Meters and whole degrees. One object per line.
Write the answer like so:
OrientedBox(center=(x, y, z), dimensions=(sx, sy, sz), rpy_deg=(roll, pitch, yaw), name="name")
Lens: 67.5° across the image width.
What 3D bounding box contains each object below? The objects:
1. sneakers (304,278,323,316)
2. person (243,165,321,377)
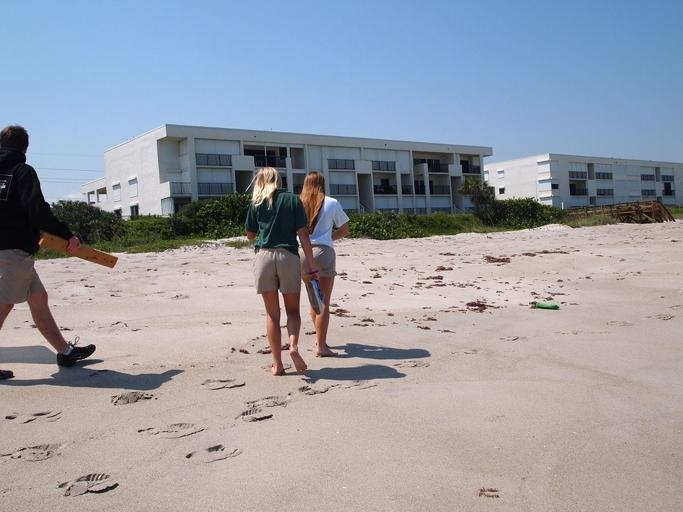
OrientedBox(center=(-0.242, 0.405, 5.163), dimensions=(0.086, 0.347, 0.182), rpy_deg=(-16, 1, -34), name="sneakers")
OrientedBox(center=(-0.603, 0.109, 4.963), dimensions=(0.668, 1.940, 0.628), rpy_deg=(-1, 6, -4), name="person")
